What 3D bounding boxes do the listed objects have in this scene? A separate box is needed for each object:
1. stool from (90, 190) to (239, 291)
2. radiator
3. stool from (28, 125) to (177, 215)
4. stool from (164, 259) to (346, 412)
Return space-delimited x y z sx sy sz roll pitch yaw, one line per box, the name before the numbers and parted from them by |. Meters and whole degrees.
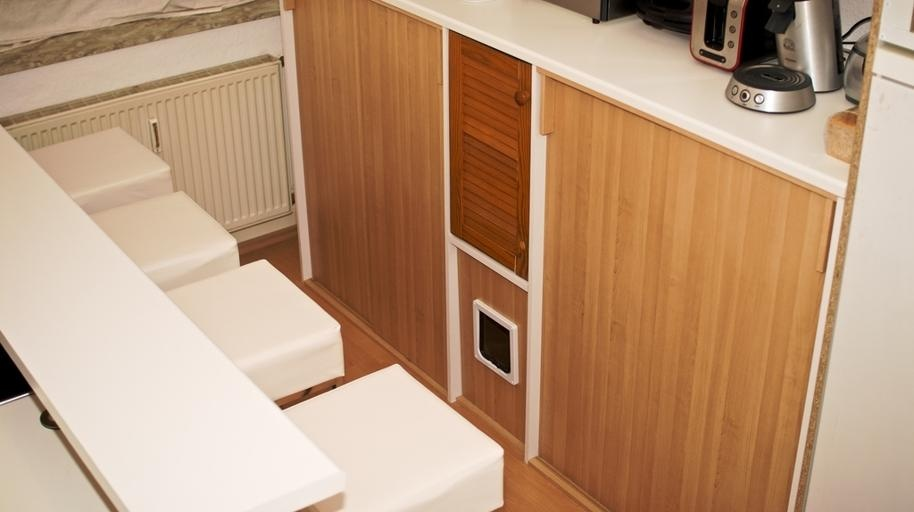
stool | -1.170 -0.096 2.693 0.443 0.265 0.427 -25 51 -31
radiator | -1.536 -0.585 3.234 1.112 0.663 0.170 -17 43 -18
stool | -1.629 -0.406 3.044 0.482 0.204 0.466 -24 49 -31
stool | -0.674 0.242 2.306 0.439 0.243 0.556 -22 41 -33
